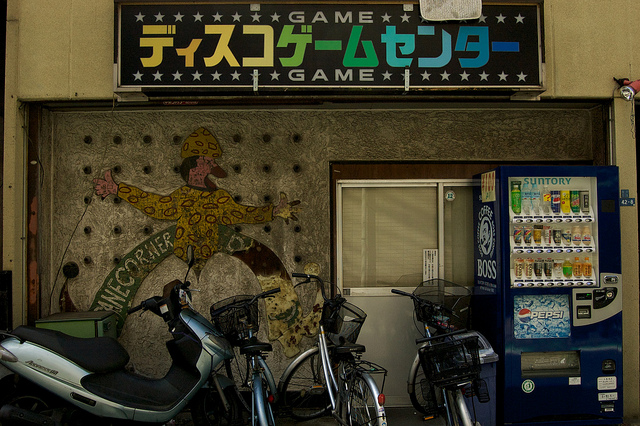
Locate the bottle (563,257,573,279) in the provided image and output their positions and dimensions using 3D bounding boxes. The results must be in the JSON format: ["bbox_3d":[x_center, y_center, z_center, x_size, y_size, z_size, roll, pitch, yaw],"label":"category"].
[{"bbox_3d":[3.408,0.780,12.895,0.139,0.266,0.072,0,-3,3],"label":"bottle"}]

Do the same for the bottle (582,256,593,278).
[{"bbox_3d":[3.683,0.783,12.880,0.142,0.223,0.054,0,-3,-2],"label":"bottle"}]

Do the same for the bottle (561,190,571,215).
[{"bbox_3d":[3.384,-0.131,12.906,0.130,0.398,0.282,2,-5,0],"label":"bottle"}]

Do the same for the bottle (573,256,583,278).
[{"bbox_3d":[3.550,0.754,12.889,0.119,0.283,0.080,2,-3,-28],"label":"bottle"}]

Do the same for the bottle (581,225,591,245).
[{"bbox_3d":[3.662,0.315,12.898,0.125,0.251,0.085,0,-3,16],"label":"bottle"}]

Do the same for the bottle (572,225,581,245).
[{"bbox_3d":[3.534,0.316,12.905,0.109,0.250,0.081,0,-3,16],"label":"bottle"}]

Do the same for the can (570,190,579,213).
[{"bbox_3d":[3.508,-0.143,12.906,0.144,0.280,0.276,1,-2,1],"label":"can"}]

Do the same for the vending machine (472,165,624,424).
[{"bbox_3d":[3.170,1.125,13.670,1.853,3.615,2.704,0,2,-3],"label":"vending machine"}]

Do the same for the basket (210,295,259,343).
[{"bbox_3d":[-1.150,1.463,12.689,0.680,0.650,0.567,-14,-5,-29],"label":"basket"}]

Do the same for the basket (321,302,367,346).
[{"bbox_3d":[0.296,1.476,12.660,0.430,0.679,0.834,10,5,-9],"label":"basket"}]

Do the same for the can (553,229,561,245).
[{"bbox_3d":[3.255,0.319,12.887,0.147,0.251,0.153,1,-6,0],"label":"can"}]

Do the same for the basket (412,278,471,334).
[{"bbox_3d":[1.735,1.302,13.280,0.823,0.563,0.610,3,-6,5],"label":"basket"}]

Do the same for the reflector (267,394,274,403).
[{"bbox_3d":[-0.662,2.479,12.475,0.123,0.122,0.034,-7,-11,6],"label":"reflector"}]

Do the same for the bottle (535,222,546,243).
[{"bbox_3d":[3.025,0.281,12.888,0.143,0.267,0.039,1,-3,-8],"label":"bottle"}]

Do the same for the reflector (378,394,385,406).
[{"bbox_3d":[0.768,2.361,11.817,0.098,0.143,0.036,-3,-3,-9],"label":"reflector"}]

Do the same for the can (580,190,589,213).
[{"bbox_3d":[3.637,-0.138,12.912,0.145,0.263,0.271,0,-4,4],"label":"can"}]

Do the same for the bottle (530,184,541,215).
[{"bbox_3d":[2.973,-0.180,12.919,0.179,0.422,0.102,2,-3,-34],"label":"bottle"}]
